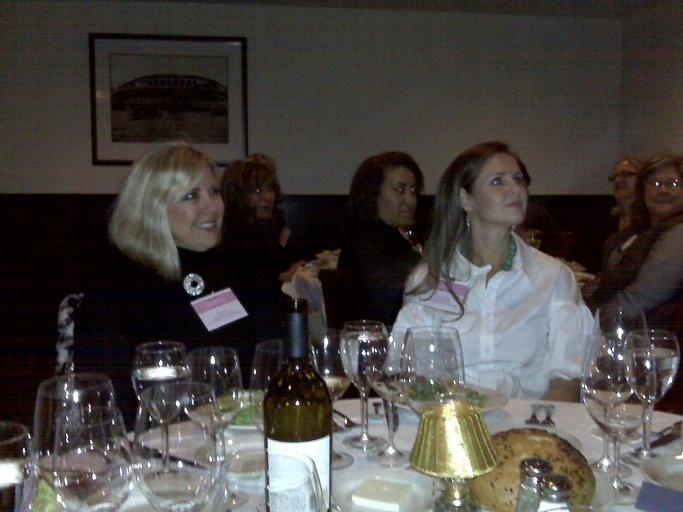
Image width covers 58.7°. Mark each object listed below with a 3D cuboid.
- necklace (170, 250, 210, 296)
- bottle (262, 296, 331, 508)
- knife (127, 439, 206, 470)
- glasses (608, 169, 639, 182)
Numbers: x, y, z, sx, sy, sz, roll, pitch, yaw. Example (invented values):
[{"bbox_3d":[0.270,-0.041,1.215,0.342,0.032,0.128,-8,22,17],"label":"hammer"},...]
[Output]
[{"bbox_3d":[-0.683,0.082,2.808,0.146,0.209,0.062,3,-23,-26],"label":"necklace"},{"bbox_3d":[-0.099,0.361,1.402,0.166,0.524,0.288,-3,3,-7],"label":"bottle"},{"bbox_3d":[-0.396,0.456,1.388,0.164,0.078,0.026,-3,3,-3],"label":"knife"},{"bbox_3d":[2.172,-0.590,4.587,0.144,0.046,0.141,6,-10,-27],"label":"glasses"}]
